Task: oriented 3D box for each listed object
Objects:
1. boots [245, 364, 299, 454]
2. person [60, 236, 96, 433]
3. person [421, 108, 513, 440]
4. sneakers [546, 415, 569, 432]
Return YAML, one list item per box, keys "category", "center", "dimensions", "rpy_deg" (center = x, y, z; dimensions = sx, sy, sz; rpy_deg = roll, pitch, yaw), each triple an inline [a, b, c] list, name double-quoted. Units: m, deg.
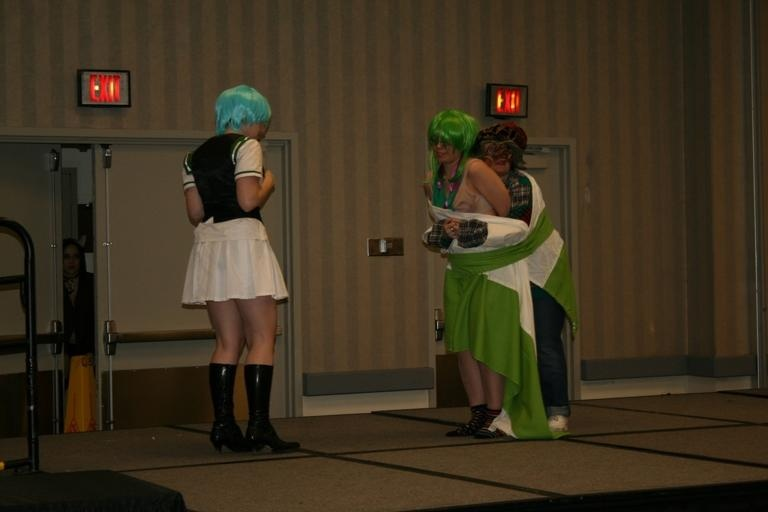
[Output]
- category: "boots"
  center: [-0.660, 0.896, 6.866]
  dimensions: [0.214, 0.526, 0.292]
  rpy_deg: [1, 2, 45]
- category: "person"
  center: [-2.330, 0.590, 8.862]
  dimensions: [0.228, 1.424, 0.613]
  rpy_deg: [-1, 2, -15]
- category: "person"
  center: [0.512, 0.108, 7.243]
  dimensions: [0.553, 2.013, 0.287]
  rpy_deg: [0, 2, 14]
- category: "sneakers"
  center: [1.081, 1.040, 7.189]
  dimensions: [0.136, 0.095, 0.097]
  rpy_deg: [-1, 2, -11]
